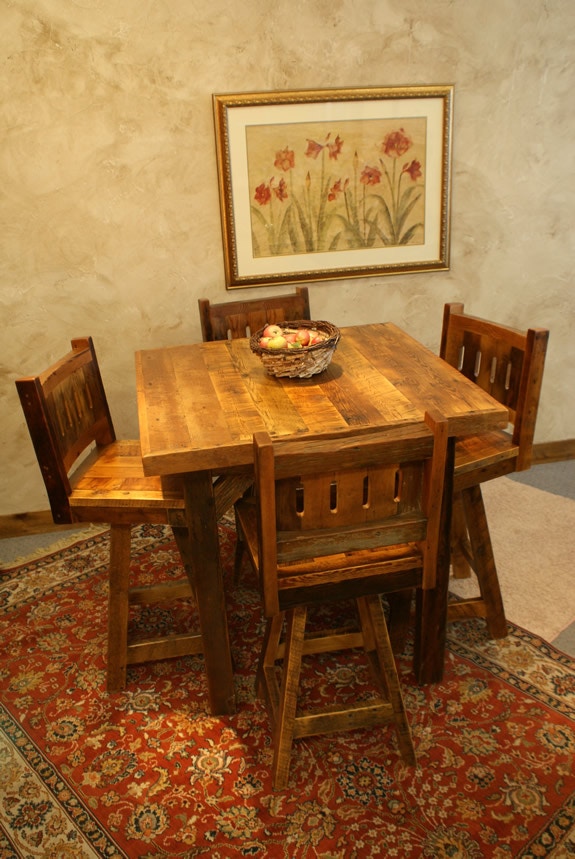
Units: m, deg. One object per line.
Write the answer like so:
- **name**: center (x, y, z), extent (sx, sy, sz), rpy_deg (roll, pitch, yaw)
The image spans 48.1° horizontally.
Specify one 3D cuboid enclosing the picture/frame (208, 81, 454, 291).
- **picture/frame**: center (0.155, -1.077, 2.772), extent (0.888, 0.720, 0.042), rpy_deg (-9, 28, -9)
